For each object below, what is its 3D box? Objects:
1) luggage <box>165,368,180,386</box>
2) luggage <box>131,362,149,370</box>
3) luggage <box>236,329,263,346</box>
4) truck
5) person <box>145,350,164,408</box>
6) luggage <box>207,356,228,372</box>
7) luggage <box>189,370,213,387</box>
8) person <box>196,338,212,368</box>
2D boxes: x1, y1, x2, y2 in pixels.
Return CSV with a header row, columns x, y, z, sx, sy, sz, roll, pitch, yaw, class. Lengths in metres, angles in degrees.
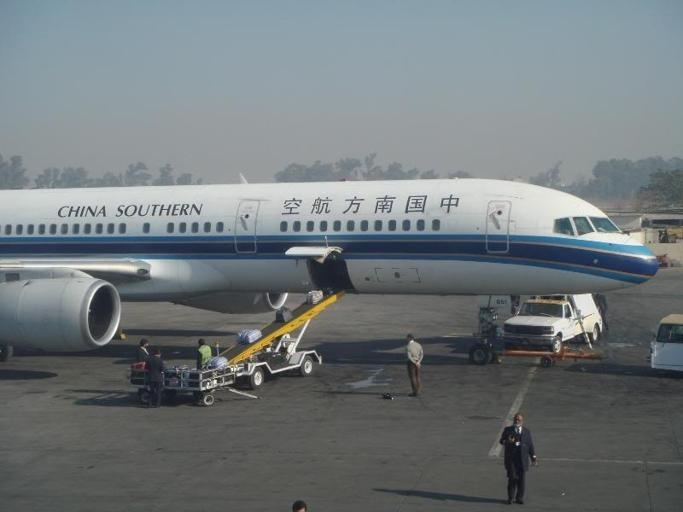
x,y,z,sx,sy,sz,roll,pitch,yaw,class
-5.452,4.027,29.527,0.809,0.499,0.666,0,-2,-2,luggage
-6.702,3.643,29.429,0.491,0.136,0.383,1,-3,-6,luggage
-3.252,2.900,31.992,0.634,0.233,0.819,-1,3,28,luggage
8.671,2.691,35.979,2.559,1.245,4.543,-3,-3,40,truck
-6.128,4.003,29.067,0.608,1.935,0.382,-4,12,-10,person
-4.262,3.634,29.850,0.559,0.351,0.984,3,9,26,luggage
-4.643,4.006,29.324,0.702,0.515,1.049,-1,-3,27,luggage
-4.735,3.324,30.289,0.463,0.980,1.035,-4,10,-10,person
